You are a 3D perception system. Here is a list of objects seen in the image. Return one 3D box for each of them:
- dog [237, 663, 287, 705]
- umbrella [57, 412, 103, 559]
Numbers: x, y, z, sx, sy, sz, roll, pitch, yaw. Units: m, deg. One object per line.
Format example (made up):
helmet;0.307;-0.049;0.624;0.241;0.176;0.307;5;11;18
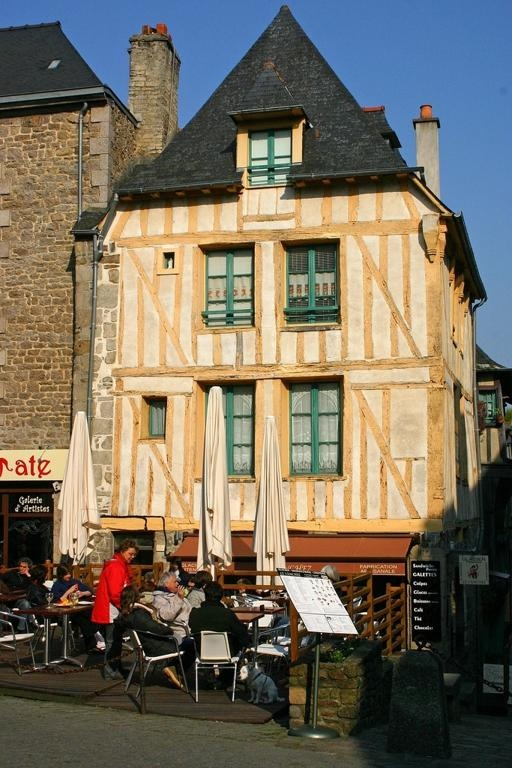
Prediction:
dog;0.064;2.956;12.961;0.488;0.404;0.248;3;-17;1
umbrella;-2.243;1.310;17.102;0.518;1.958;0.451;1;-8;-3
